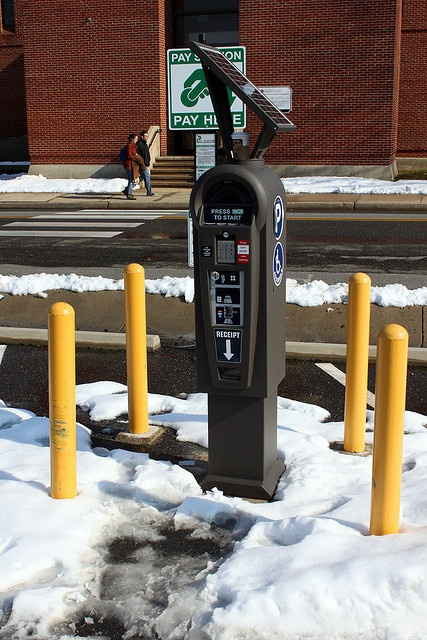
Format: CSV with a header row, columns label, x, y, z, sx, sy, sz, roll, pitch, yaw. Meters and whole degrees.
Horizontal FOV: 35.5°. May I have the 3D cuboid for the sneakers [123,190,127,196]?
label,x,y,z,sx,sy,sz,roll,pitch,yaw
sneakers,-2.736,-3.836,20.238,0.091,0.076,0.344,-14,-8,-14

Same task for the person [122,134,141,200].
label,x,y,z,sx,sy,sz,roll,pitch,yaw
person,-2.460,-4.446,19.471,0.467,1.862,1.175,-4,10,-7

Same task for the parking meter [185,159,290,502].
label,x,y,z,sx,sy,sz,roll,pitch,yaw
parking meter,0.146,0.073,3.679,0.512,1.836,0.494,-2,11,5
